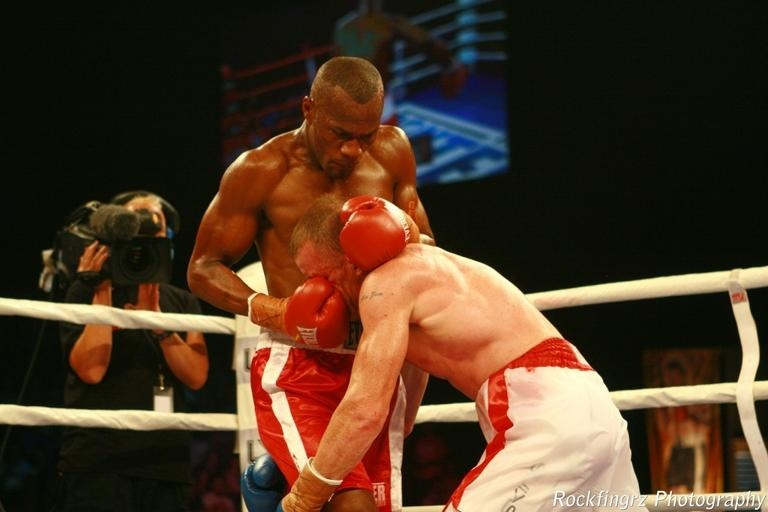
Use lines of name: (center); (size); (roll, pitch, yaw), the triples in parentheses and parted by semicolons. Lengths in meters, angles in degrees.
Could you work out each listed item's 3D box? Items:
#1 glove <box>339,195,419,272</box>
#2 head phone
glove: (-0.022, -0.072, 4.204); (0.324, 0.292, 0.246); (-17, 12, 46)
head phone: (-1.525, -0.257, 5.582); (0.412, 0.179, 0.495); (22, -12, 0)
